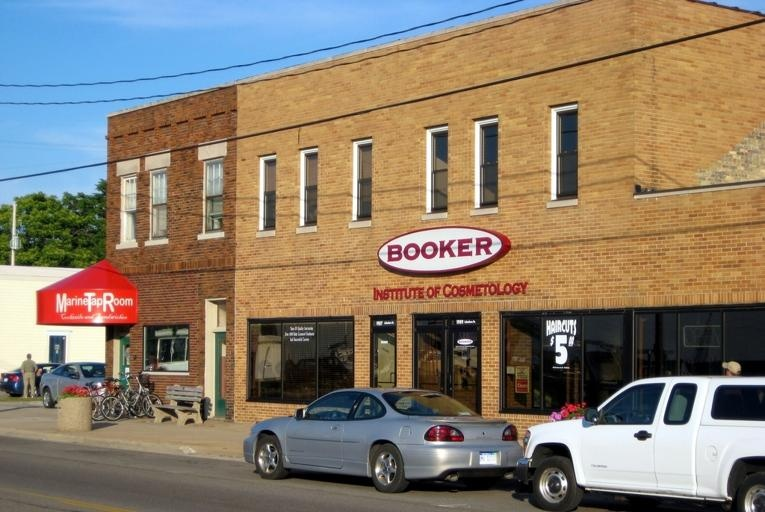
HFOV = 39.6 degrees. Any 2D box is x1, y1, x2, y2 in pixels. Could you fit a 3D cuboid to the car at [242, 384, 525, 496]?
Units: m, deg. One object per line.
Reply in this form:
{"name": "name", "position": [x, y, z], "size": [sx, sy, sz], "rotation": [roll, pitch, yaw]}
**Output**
{"name": "car", "position": [-0.316, 3.942, 23.250], "size": [4.872, 1.395, 2.475], "rotation": [-1, -4, 40]}

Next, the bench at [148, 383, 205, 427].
{"name": "bench", "position": [-6.662, 4.751, 33.995], "size": [1.779, 1.134, 1.017], "rotation": [-2, -3, 43]}

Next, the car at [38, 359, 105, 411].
{"name": "car", "position": [-11.812, 4.759, 40.365], "size": [1.683, 1.245, 3.591], "rotation": [4, -12, -41]}
